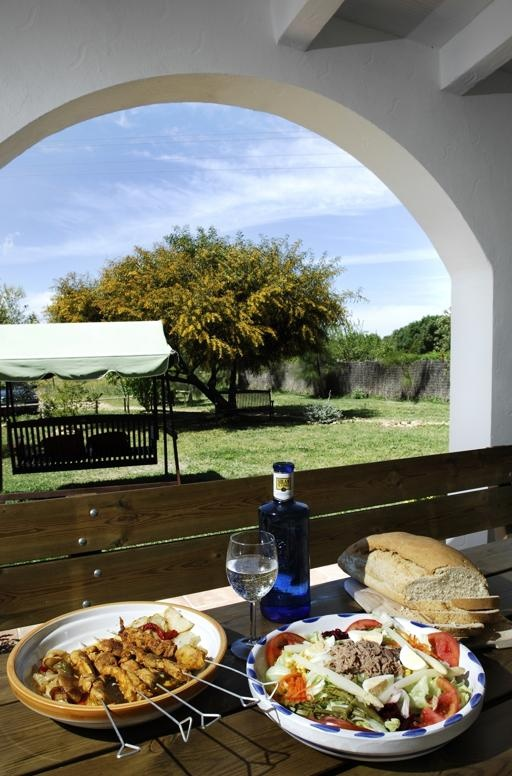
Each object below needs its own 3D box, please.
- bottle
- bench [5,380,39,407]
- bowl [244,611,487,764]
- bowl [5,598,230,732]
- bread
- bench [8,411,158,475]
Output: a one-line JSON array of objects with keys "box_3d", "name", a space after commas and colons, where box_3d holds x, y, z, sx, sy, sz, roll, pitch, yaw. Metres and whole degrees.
[{"box_3d": [0.065, 0.288, 0.991, 0.086, 0.293, 0.113, -1, 0, 20], "name": "bottle"}, {"box_3d": [-4.593, 0.118, 10.352, 0.491, 0.185, 0.610, -1, 12, -13], "name": "bench"}, {"box_3d": [0.162, 0.394, 0.708, 0.264, 0.095, 0.276, 1, 3, 0], "name": "bowl"}, {"box_3d": [-0.182, 0.336, 0.782, 0.345, 0.105, 0.284, 3, -4, -39], "name": "bowl"}, {"box_3d": [0.311, 0.352, 1.030, 0.139, 0.082, 0.245, -11, 4, -23], "name": "bread"}, {"box_3d": [-2.274, 0.750, 6.972, 1.448, 0.627, 0.427, -2, -2, -12], "name": "bench"}]
